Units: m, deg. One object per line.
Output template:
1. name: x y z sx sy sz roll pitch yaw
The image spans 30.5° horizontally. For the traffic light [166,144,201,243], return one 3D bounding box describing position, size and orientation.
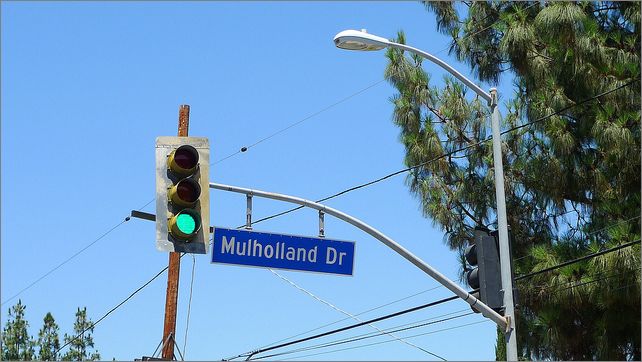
1. traffic light: -4.378 0.338 37.468 1.263 3.084 1.049 3 -19 -5
